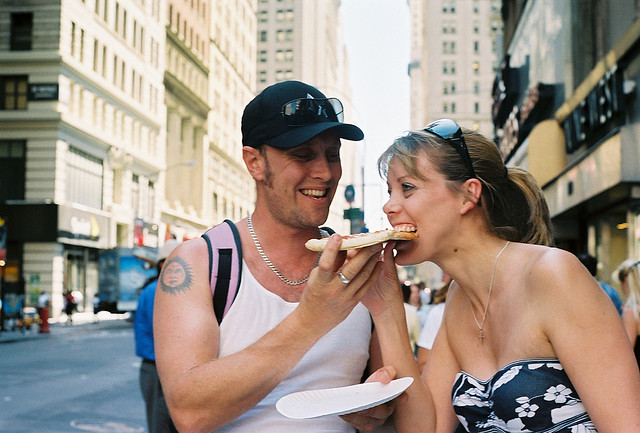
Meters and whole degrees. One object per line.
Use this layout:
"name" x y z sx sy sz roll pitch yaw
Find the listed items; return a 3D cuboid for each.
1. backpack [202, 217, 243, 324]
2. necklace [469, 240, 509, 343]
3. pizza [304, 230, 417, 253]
"backpack" -1.010 0.580 8.382 0.411 1.092 0.258 -8 -6 -7
"necklace" 1.839 0.834 8.563 0.069 1.118 0.323 2 8 -42
"pizza" 0.440 0.258 8.291 0.668 0.162 0.493 -6 -2 -6
